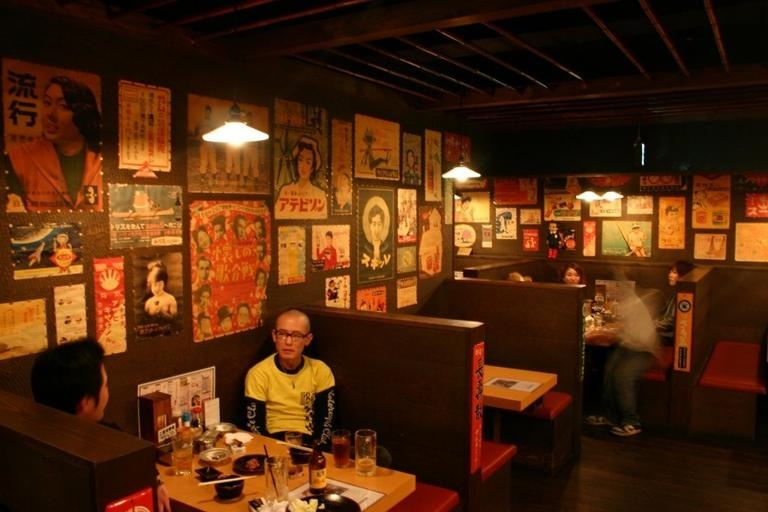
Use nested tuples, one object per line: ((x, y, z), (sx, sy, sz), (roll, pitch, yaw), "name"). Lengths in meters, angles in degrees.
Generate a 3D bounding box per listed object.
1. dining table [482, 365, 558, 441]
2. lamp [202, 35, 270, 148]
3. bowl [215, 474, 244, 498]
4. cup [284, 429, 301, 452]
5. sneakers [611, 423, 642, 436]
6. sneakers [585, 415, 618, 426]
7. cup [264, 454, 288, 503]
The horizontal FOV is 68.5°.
((1.108, 1.162, 5.142), (0.746, 0.680, 0.748), (2, 3, 31), "dining table")
((-1.104, -1.152, 4.224), (0.629, 0.610, 0.606), (2, 10, 15), "lamp")
((-0.967, 1.440, 3.503), (0.175, 0.098, 0.122), (-1, 6, -13), "bowl")
((-0.653, 1.321, 3.983), (0.109, 0.099, 0.093), (0, 1, 4), "cup")
((2.779, 1.981, 6.474), (0.281, 0.110, 0.139), (2, -5, 5), "sneakers")
((2.577, 1.973, 6.738), (0.243, 0.081, 0.129), (-2, -3, 30), "sneakers")
((-0.651, 1.337, 3.396), (0.128, 0.240, 0.137), (0, 5, 0), "cup")
